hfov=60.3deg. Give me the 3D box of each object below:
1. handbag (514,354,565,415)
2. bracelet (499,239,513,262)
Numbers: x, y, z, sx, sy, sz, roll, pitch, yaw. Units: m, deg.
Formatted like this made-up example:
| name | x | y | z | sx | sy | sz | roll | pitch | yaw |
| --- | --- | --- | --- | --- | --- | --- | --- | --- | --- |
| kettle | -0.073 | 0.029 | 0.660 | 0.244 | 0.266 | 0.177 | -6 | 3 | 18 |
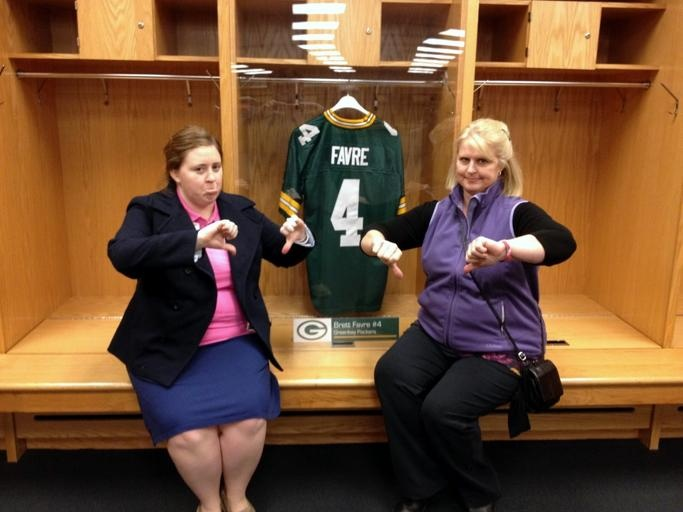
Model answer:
| name | x | y | z | sx | sy | sz | roll | pitch | yaw |
| --- | --- | --- | --- | --- | --- | --- | --- | --- | --- |
| handbag | 0.835 | 0.519 | 2.448 | 0.181 | 0.228 | 0.127 | -7 | 23 | -18 |
| bracelet | 0.625 | -0.017 | 2.220 | 0.027 | 0.068 | 0.050 | 1 | -2 | -45 |
